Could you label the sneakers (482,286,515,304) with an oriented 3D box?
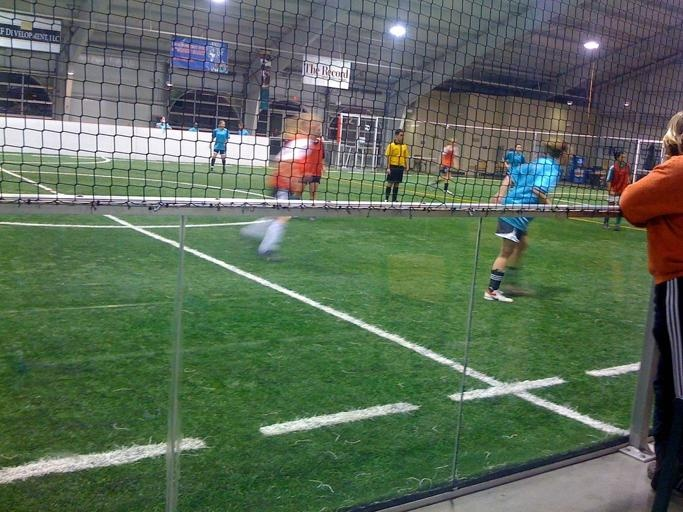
[{"bbox_3d":[1.123,0.292,4.184,0.349,0.089,0.107,4,5,-25],"label":"sneakers"}]
